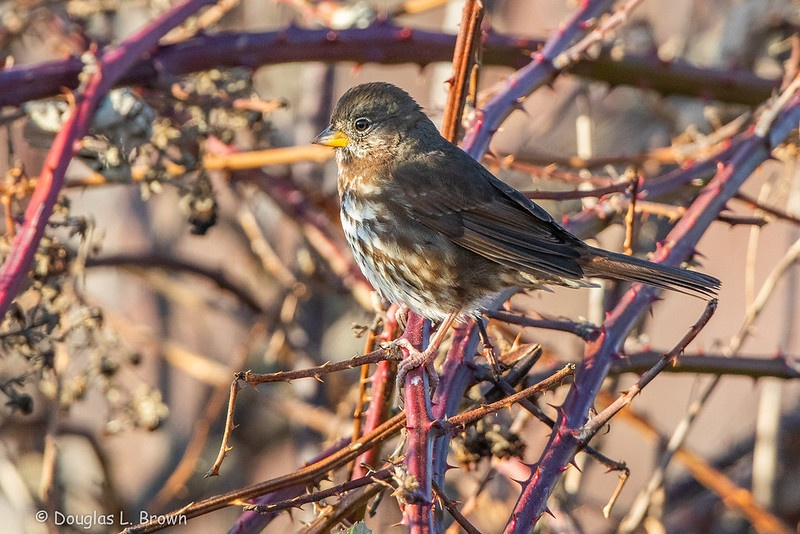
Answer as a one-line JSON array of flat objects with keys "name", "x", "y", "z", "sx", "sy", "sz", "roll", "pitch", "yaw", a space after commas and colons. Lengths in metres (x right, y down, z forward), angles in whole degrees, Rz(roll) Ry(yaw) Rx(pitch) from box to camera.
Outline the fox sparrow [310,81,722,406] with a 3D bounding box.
[{"name": "fox sparrow", "x": 0.416, "y": -0.376, "z": 7.201, "sx": 3.261, "sy": 1.626, "sz": 1.658, "roll": 1, "pitch": -79, "yaw": -7}]
